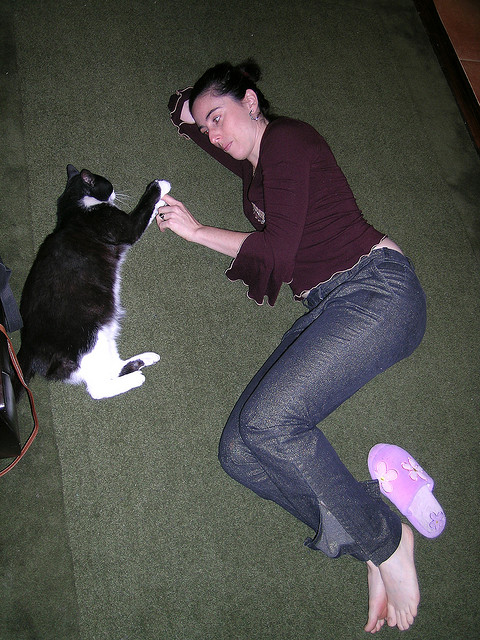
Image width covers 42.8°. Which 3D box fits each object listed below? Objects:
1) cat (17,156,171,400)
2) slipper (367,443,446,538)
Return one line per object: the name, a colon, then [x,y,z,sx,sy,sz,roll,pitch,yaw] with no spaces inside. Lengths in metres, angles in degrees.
cat: [-0.458,-0.090,1.783,0.346,0.817,0.257,12,-4,-27]
slipper: [0.458,0.465,1.711,0.277,0.142,0.085,46,-6,7]
